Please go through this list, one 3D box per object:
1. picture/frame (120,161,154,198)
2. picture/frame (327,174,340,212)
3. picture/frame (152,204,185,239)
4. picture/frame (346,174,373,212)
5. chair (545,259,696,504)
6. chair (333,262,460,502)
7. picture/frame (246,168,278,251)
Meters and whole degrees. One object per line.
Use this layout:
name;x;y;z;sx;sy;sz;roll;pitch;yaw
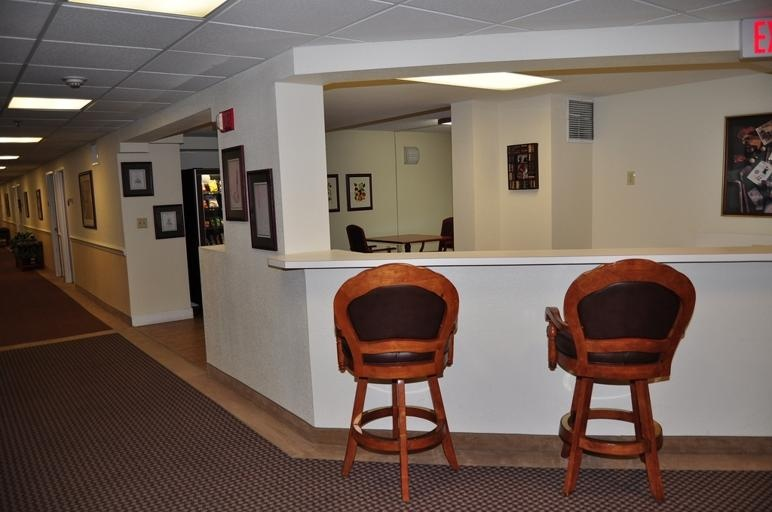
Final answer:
picture/frame;-3.541;-1.093;7.651;0.066;0.584;0.517;9;9;41
picture/frame;-1.004;-1.204;10.389;0.262;0.725;0.157;-9;16;-21
picture/frame;-3.221;-0.515;7.953;0.490;0.542;0.054;-7;7;-41
picture/frame;-0.567;-1.256;10.627;0.770;0.854;0.063;-2;-2;-41
chair;1.584;0.744;3.758;0.968;1.536;0.944;-2;6;-21
chair;0.078;0.804;3.871;0.951;1.513;0.856;0;3;22
picture/frame;-1.069;-0.420;4.680;0.059;0.785;0.680;-7;9;-28
